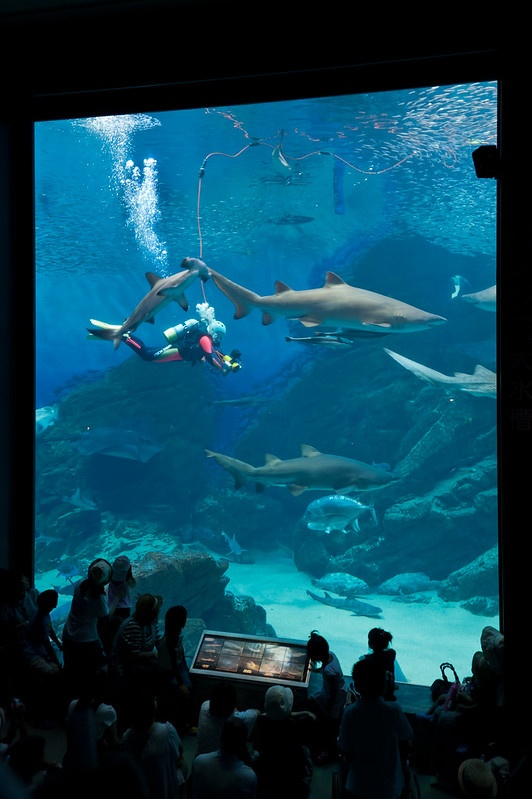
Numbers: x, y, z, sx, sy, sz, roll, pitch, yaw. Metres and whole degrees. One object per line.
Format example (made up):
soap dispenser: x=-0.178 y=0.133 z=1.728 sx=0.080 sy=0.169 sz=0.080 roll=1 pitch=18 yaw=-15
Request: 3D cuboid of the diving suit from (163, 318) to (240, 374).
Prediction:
diving suit: x=-1.365 y=-1.231 z=15.675 sx=1.960 sy=0.754 sz=1.141 roll=6 pitch=28 yaw=14

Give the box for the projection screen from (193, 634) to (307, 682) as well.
projection screen: x=-0.096 y=1.992 z=5.107 sx=0.921 sy=0.299 sz=0.316 roll=1 pitch=-15 yaw=15
